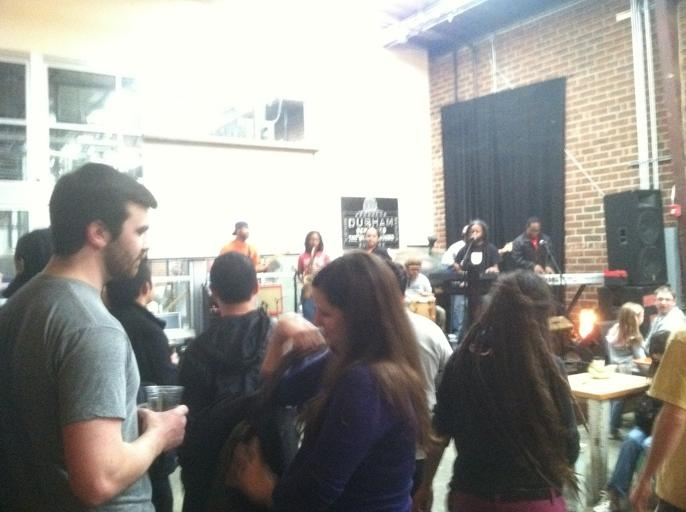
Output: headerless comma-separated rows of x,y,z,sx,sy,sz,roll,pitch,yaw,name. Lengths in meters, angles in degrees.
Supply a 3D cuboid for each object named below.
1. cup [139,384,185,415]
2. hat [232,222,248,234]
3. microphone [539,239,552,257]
-0.603,0.478,2.027,0.089,0.066,0.091,-1,-10,0,cup
-1.204,-0.342,7.060,0.181,0.133,0.133,-16,-6,30,hat
2.524,-0.088,7.545,0.209,0.202,0.163,-9,14,-10,microphone
